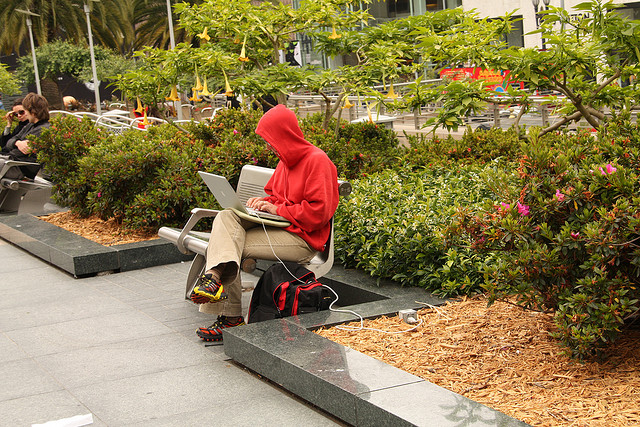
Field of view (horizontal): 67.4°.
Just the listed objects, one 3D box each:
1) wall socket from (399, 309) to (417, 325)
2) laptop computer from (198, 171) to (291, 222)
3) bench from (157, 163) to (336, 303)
[{"bbox_3d":[0.783,0.920,4.297,0.126,0.105,0.117,-2,7,-22],"label":"wall socket"},{"bbox_3d":[-0.838,-0.169,4.870,0.932,0.479,0.479,9,15,39],"label":"laptop computer"},{"bbox_3d":[-0.911,0.204,5.611,1.328,1.404,2.235,-13,15,-31],"label":"bench"}]
